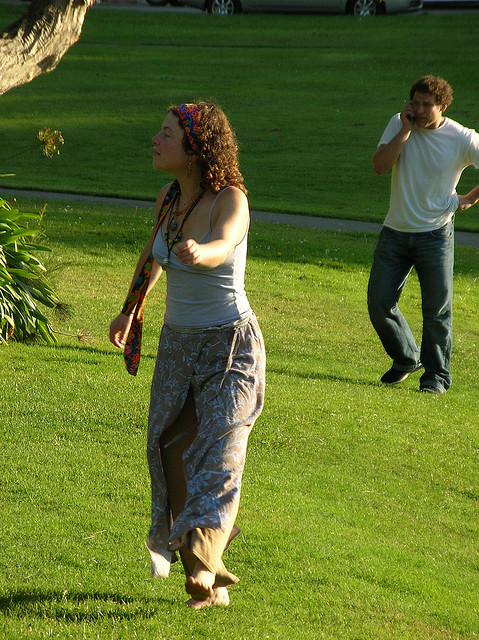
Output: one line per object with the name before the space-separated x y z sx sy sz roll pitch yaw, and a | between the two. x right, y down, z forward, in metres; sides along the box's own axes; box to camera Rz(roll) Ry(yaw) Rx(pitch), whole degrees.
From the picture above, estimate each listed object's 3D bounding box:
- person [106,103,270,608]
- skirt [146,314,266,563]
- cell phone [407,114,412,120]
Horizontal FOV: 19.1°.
person | -0.175 0.243 7.091 0.617 2.360 1.384 4 20 -6
skirt | -0.180 0.520 6.998 0.576 1.242 0.848 7 22 8
cell phone | 1.161 -1.407 9.819 0.011 0.038 0.069 16 22 24
